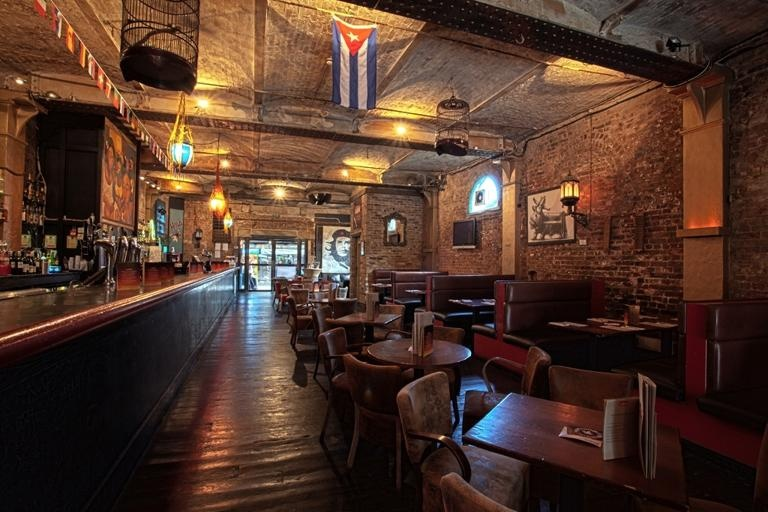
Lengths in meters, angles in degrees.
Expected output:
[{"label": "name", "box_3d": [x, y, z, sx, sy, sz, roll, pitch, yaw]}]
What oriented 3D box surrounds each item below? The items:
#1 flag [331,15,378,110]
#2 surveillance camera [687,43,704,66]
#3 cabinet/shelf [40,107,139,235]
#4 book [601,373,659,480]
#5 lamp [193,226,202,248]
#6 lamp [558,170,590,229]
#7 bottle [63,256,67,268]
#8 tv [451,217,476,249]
[{"label": "flag", "box_3d": [-0.401, -2.681, 7.197, 0.635, 1.038, 0.274, 1, 0, -13]}, {"label": "surveillance camera", "box_3d": [4.371, -2.845, 7.257, 0.239, 0.312, 0.083, 1, 0, -18]}, {"label": "cabinet/shelf", "box_3d": [-5.530, -1.662, 10.148, 1.080, 2.397, 1.742, 1, 0, 24]}, {"label": "book", "box_3d": [2.153, 1.518, 4.540, 0.487, 0.811, 0.869, 1, -2, 18]}, {"label": "lamp", "box_3d": [-6.531, -0.688, 18.242, 0.337, 0.749, 0.235, 1, 0, -32]}, {"label": "lamp", "box_3d": [3.441, -0.997, 9.314, 0.458, 0.925, 0.729, 1, 0, 21]}, {"label": "bottle", "box_3d": [-5.931, 0.099, 9.704, 0.065, 0.263, 0.169, 1, 0, -43]}, {"label": "tv", "box_3d": [2.033, -0.568, 12.966, 0.126, 0.520, 1.045, 1, 0, -20]}]
